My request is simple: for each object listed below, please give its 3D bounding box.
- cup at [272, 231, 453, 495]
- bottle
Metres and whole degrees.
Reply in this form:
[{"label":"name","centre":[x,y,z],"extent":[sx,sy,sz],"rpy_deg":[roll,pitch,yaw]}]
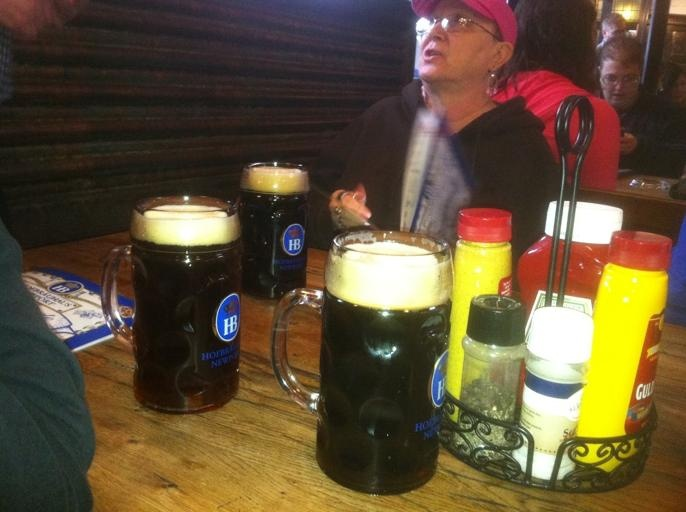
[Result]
[{"label":"cup","centre":[0.051,0.140,0.791],"extent":[0.216,0.323,0.237],"rpy_deg":[1,22,-1]},{"label":"bottle","centre":[0.265,0.115,0.904],"extent":[0.383,0.340,0.328],"rpy_deg":[-1,11,-1]}]
